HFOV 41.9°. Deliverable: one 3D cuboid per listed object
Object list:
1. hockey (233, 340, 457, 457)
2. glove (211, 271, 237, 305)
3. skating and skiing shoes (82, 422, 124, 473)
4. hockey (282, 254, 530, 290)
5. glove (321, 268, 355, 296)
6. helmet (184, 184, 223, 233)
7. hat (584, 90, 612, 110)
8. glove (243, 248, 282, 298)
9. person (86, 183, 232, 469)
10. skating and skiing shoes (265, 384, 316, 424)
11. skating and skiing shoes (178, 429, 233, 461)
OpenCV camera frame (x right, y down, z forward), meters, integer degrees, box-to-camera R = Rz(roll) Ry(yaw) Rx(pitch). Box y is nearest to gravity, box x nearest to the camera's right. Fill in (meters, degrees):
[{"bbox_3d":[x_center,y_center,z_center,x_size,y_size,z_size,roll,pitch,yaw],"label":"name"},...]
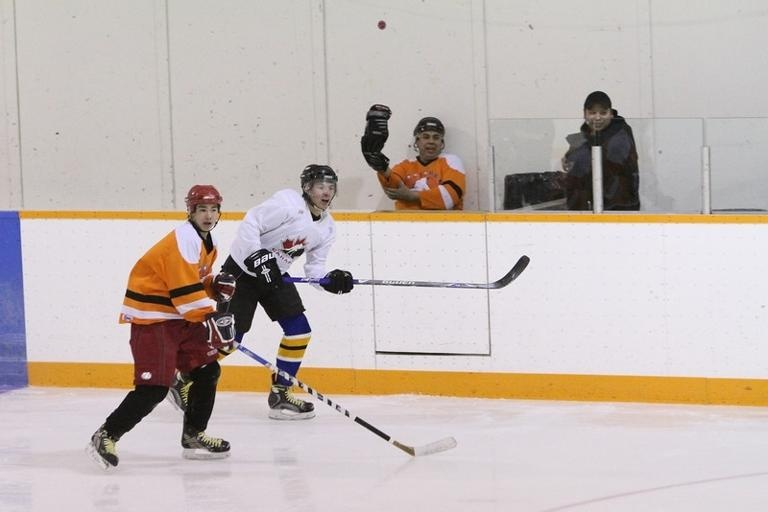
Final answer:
[{"bbox_3d":[-0.210,0.995,6.971,1.382,0.110,0.157,27,-20,16],"label":"hockey"},{"bbox_3d":[-1.010,0.186,6.326,0.145,0.190,0.078,16,23,14],"label":"glove"},{"bbox_3d":[-1.718,1.182,6.234,0.304,0.203,0.101,31,7,40],"label":"skating and skiing shoes"},{"bbox_3d":[0.227,0.110,7.137,2.060,0.257,0.144,-1,-21,0],"label":"hockey"},{"bbox_3d":[-0.318,0.174,6.752,0.211,0.163,0.149,0,3,-6],"label":"glove"},{"bbox_3d":[-1.140,-0.303,6.373,0.264,0.294,0.291,-1,-5,-30],"label":"helmet"},{"bbox_3d":[1.521,-1.110,7.140,0.132,0.086,0.173,2,22,4],"label":"hat"},{"bbox_3d":[-0.780,0.103,6.572,0.212,0.276,0.108,-31,15,10],"label":"glove"},{"bbox_3d":[-1.355,0.437,6.265,0.827,1.750,0.347,0,3,-7],"label":"person"},{"bbox_3d":[-0.662,1.025,6.969,0.432,0.281,0.151,1,-2,-1],"label":"skating and skiing shoes"},{"bbox_3d":[-1.153,1.204,6.426,0.404,0.244,0.128,-1,4,-5],"label":"skating and skiing shoes"}]
